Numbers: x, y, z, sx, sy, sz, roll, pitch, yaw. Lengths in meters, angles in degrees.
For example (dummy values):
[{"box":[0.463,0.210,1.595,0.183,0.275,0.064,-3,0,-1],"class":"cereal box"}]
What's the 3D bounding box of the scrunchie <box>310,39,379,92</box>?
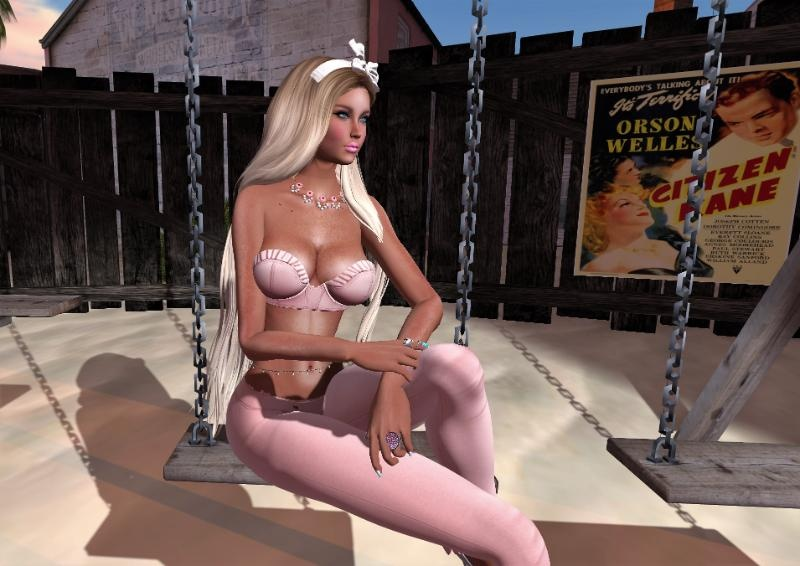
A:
[{"box":[-0.226,-0.899,2.241,0.266,0.116,0.200,-12,59,-14],"class":"scrunchie"}]
